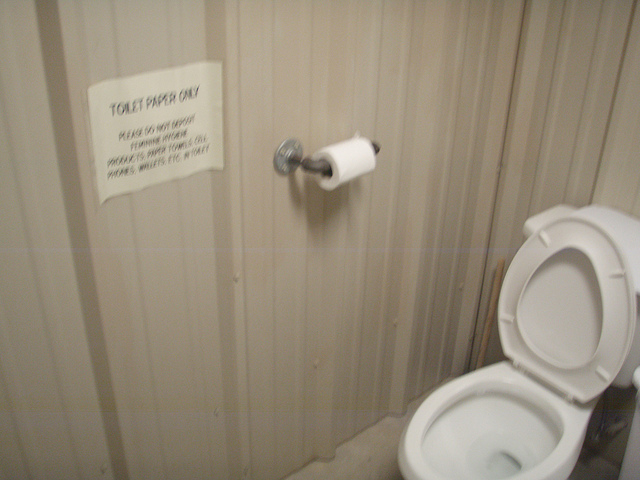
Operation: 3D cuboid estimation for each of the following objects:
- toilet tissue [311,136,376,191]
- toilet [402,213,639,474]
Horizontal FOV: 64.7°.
[{"bbox_3d":[0.066,-0.191,1.245,0.098,0.100,0.211,19,32,41],"label":"toilet tissue"},{"bbox_3d":[0.528,0.342,1.353,0.553,0.692,0.356,-18,27,-31],"label":"toilet"}]
